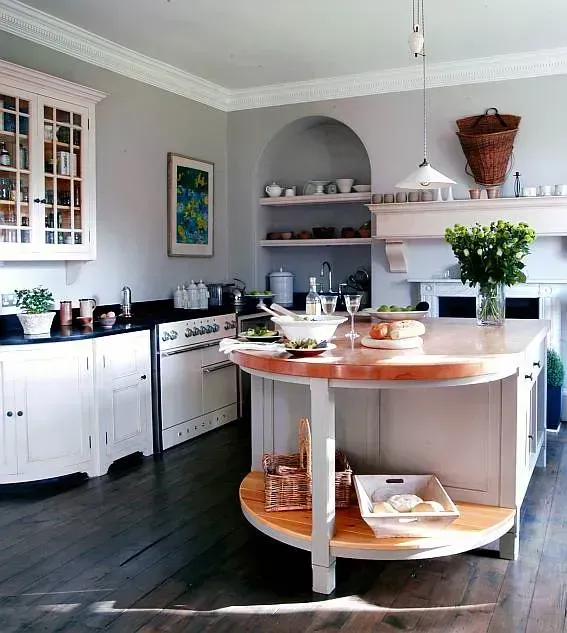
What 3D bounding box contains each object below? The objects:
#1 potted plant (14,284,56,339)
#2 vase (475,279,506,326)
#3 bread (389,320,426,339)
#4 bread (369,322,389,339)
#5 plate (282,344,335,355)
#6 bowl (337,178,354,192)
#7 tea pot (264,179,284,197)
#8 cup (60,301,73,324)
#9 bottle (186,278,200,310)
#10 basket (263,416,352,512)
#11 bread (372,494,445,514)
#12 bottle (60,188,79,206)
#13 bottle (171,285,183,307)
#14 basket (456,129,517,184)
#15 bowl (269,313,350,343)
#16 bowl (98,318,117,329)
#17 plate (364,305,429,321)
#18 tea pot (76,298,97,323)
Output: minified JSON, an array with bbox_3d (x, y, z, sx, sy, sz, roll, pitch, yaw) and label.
[{"bbox_3d":[-1.520,-0.038,3.433,0.203,0.287,0.522,-3,4,-25],"label":"potted plant"},{"bbox_3d":[1.102,-0.065,2.972,0.166,0.224,0.146,-1,4,-1],"label":"vase"},{"bbox_3d":[0.516,0.055,2.385,0.100,0.072,0.261,2,5,40],"label":"bread"},{"bbox_3d":[0.396,0.062,2.348,0.077,0.062,0.114,0,4,9],"label":"bread"},{"bbox_3d":[0.091,0.126,2.176,0.194,0.036,0.220,0,4,8],"label":"plate"},{"bbox_3d":[0.566,-1.222,5.297,0.152,0.100,0.138,0,-1,2],"label":"bowl"},{"bbox_3d":[-0.098,-1.269,5.624,0.144,0.134,0.213,7,14,28],"label":"tea pot"},{"bbox_3d":[-1.417,-0.017,3.659,0.064,0.151,0.110,-2,4,-13],"label":"cup"},{"bbox_3d":[-0.801,-0.188,4.912,0.106,0.220,0.164,-2,4,-9],"label":"bottle"},{"bbox_3d":[0.073,0.646,2.551,0.462,0.394,0.334,-1,0,-5],"label":"basket"},{"bbox_3d":[0.452,0.714,2.124,0.122,0.032,0.116,0,-1,-34],"label":"bread"},{"bbox_3d":[-1.370,-0.777,3.606,0.020,0.146,0.171,1,4,25],"label":"bottle"},{"bbox_3d":[-0.926,-0.172,4.890,0.081,0.194,0.237,-2,4,-11],"label":"bottle"},{"bbox_3d":[1.585,-1.216,4.482,0.443,0.420,0.463,-2,7,35],"label":"basket"},{"bbox_3d":[0.082,0.051,2.172,0.249,0.104,0.287,-1,4,0],"label":"bowl"},{"bbox_3d":[-1.153,0.044,3.692,0.088,0.049,0.083,-2,1,0],"label":"bowl"},{"bbox_3d":[0.538,-0.001,2.738,0.280,0.065,0.395,0,4,12],"label":"plate"},{"bbox_3d":[-1.330,-0.033,3.778,0.098,0.164,0.196,-3,4,-20],"label":"tea pot"}]
